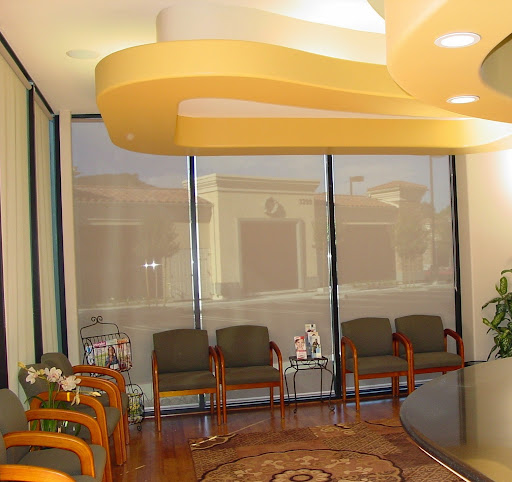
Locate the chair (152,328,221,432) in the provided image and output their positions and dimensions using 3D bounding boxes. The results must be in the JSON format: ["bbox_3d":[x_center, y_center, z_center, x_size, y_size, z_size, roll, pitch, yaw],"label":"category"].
[{"bbox_3d":[-0.765,1.449,5.417,0.702,0.937,0.775,-2,-2,-13],"label":"chair"}]

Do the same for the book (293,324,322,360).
[{"bbox_3d":[0.602,1.176,5.892,0.374,0.466,0.339,1,-8,-5],"label":"book"}]

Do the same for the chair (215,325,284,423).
[{"bbox_3d":[-0.086,1.430,5.579,0.720,0.924,0.763,-2,-2,-4],"label":"chair"}]
